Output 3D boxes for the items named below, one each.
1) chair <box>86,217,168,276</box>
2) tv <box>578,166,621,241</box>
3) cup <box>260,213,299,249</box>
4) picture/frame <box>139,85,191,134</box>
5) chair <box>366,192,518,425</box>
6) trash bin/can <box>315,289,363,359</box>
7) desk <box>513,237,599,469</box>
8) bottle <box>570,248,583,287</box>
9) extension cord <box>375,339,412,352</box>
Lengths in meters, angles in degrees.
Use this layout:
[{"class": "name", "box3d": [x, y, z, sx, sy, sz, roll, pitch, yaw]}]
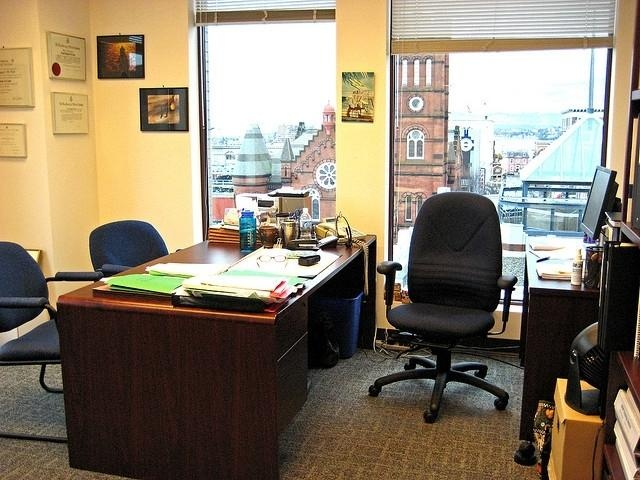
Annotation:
[{"class": "chair", "box3d": [-1.341, 0.030, 3.735, 0.416, 0.511, 0.432, -6, 7, 41]}, {"class": "tv", "box3d": [1.652, -0.234, 3.163, 0.124, 0.343, 0.484, 24, 16, 2]}, {"class": "cup", "box3d": [-0.266, -0.062, 3.636, 0.275, 0.253, 0.182, 2, 10, 3]}, {"class": "picture/frame", "box3d": [-1.267, -1.096, 4.434, 0.378, 0.344, 0.038, 1, 9, 9]}, {"class": "chair", "box3d": [0.821, 0.387, 3.382, 0.776, 1.328, 0.815, -4, 9, -37]}, {"class": "trash bin/can", "box3d": [0.183, 0.623, 4.072, 0.432, 0.527, 0.412, -1, -2, 21]}, {"class": "desk", "box3d": [1.238, 0.600, 2.795, 0.274, 0.603, 1.109, 2, 9, 11]}, {"class": "bottle", "box3d": [1.385, 0.139, 2.877, 0.059, 0.190, 0.145, 7, 16, 25]}, {"class": "extension cord", "box3d": [0.563, 0.793, 4.037, 0.200, 0.048, 0.190, 3, 4, 14]}]
